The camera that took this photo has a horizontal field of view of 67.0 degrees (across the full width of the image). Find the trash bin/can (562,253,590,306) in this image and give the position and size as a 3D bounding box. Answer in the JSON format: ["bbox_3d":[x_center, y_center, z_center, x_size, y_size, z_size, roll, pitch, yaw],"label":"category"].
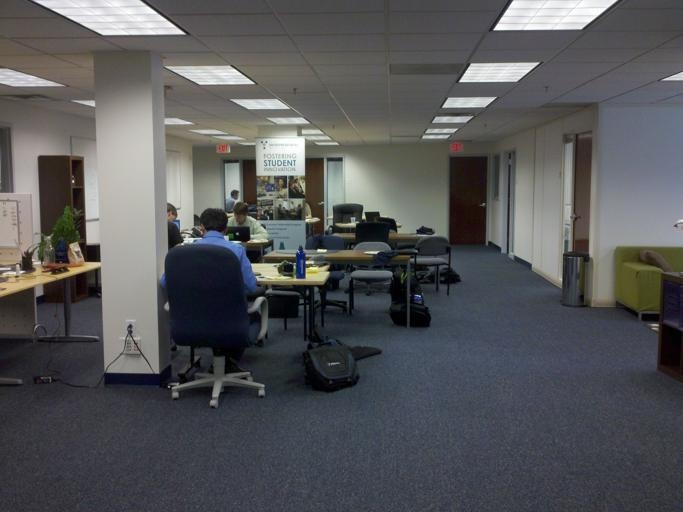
[{"bbox_3d":[3.590,0.363,7.904,0.378,0.797,0.295,1,5,20],"label":"trash bin/can"}]

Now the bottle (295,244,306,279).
[{"bbox_3d":[-0.427,0.070,5.447,0.107,0.293,0.376,-1,5,-5],"label":"bottle"}]

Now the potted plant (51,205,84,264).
[{"bbox_3d":[-3.225,-0.337,6.148,0.361,0.727,0.370,-3,-5,15],"label":"potted plant"}]

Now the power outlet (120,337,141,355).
[{"bbox_3d":[-2.007,0.864,4.953,0.151,0.162,0.086,0,5,2],"label":"power outlet"}]

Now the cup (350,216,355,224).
[{"bbox_3d":[0.306,-0.887,13.129,0.132,0.203,0.138,2,10,0],"label":"cup"}]

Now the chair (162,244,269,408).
[{"bbox_3d":[-1.114,0.603,4.544,0.783,1.452,0.644,0,5,7],"label":"chair"}]

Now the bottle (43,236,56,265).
[{"bbox_3d":[-3.366,-0.053,5.963,0.122,0.321,0.465,-3,6,-29],"label":"bottle"}]

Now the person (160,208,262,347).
[{"bbox_3d":[-1.158,0.319,4.861,0.891,1.383,0.785,2,-11,1],"label":"person"}]
